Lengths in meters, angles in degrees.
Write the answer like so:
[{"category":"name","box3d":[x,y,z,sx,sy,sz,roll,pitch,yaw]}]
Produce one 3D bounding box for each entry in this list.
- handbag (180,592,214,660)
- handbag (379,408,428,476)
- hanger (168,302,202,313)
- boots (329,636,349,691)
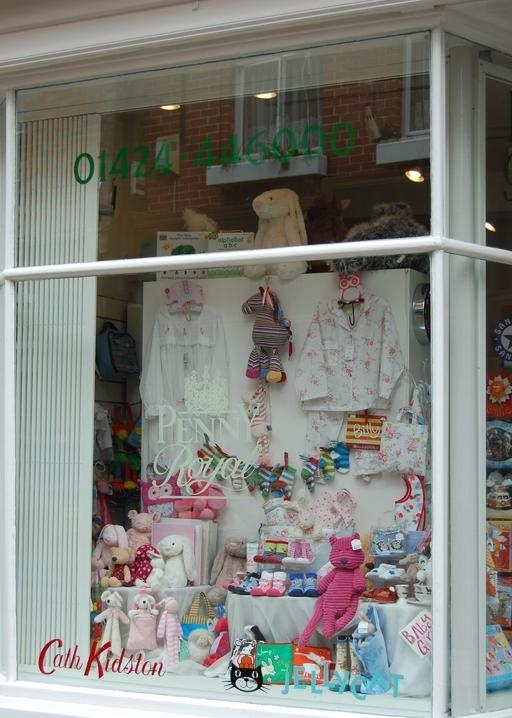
[{"category":"handbag","box3d":[-0.256,1.187,4.240,0.151,0.264,0.269,-5,2,-3]},{"category":"handbag","box3d":[0.690,0.392,4.331,0.107,0.235,0.254,-6,2,-41]},{"category":"hanger","box3d":[-0.338,-0.238,4.564,0.187,0.041,0.048,0,-32,5]},{"category":"boots","box3d":[0.349,1.244,3.894,0.085,0.185,0.138,-4,1,14]}]
